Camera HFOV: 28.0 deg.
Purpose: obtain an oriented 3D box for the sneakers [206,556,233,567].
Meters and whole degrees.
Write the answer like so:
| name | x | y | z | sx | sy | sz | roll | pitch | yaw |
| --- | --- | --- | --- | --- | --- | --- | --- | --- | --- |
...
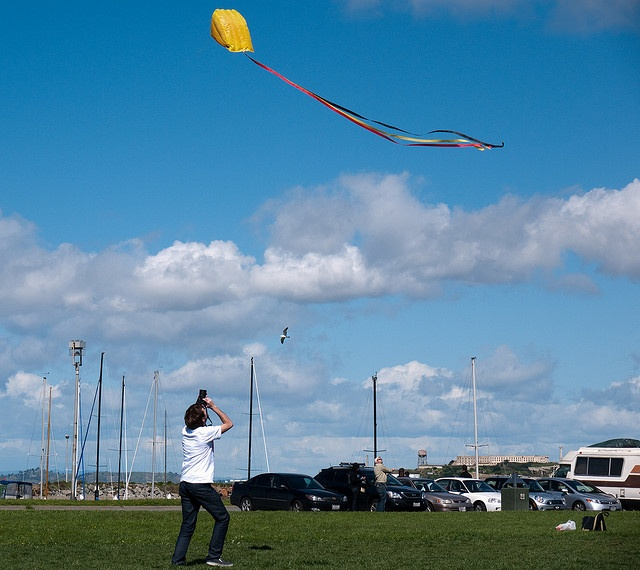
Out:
| name | x | y | z | sx | sy | sz | roll | pitch | yaw |
| --- | --- | --- | --- | --- | --- | --- | --- | --- | --- |
| sneakers | -1.948 | 5.347 | 24.896 | 0.481 | 0.203 | 0.191 | 3 | -4 | 0 |

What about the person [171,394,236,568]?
| name | x | y | z | sx | sy | sz | roll | pitch | yaw |
| --- | --- | --- | --- | --- | --- | --- | --- | --- | --- |
| person | -2.292 | 3.830 | 25.080 | 1.116 | 3.245 | 0.861 | 1 | -12 | -3 |
